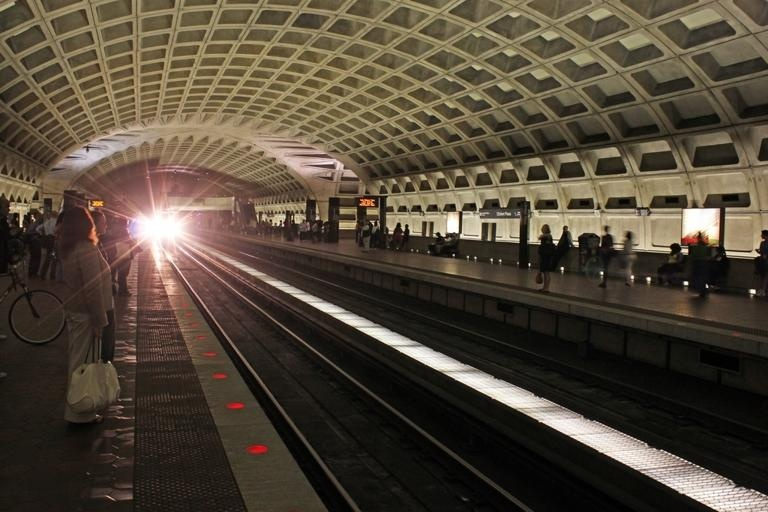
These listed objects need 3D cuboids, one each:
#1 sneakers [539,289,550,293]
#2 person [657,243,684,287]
[{"bbox_3d":[5.186,1.115,14.659,0.277,0.124,0.364,-1,9,18],"label":"sneakers"},{"bbox_3d":[10.992,0.303,17.329,0.859,1.521,0.575,-2,10,16],"label":"person"}]
